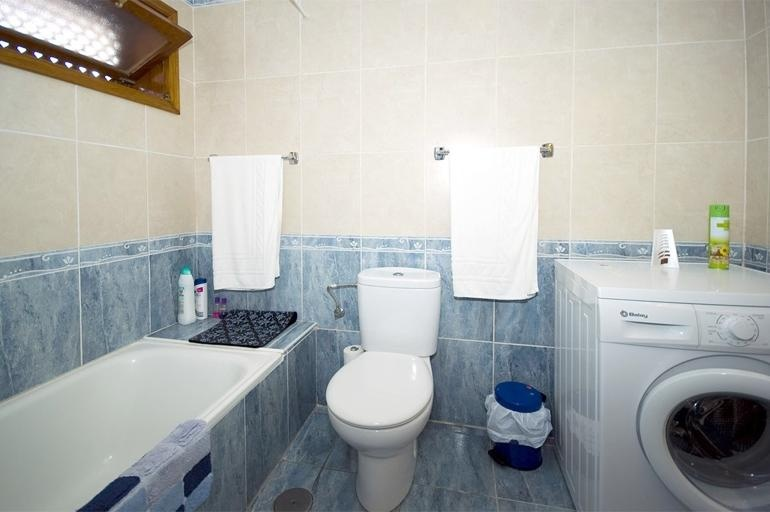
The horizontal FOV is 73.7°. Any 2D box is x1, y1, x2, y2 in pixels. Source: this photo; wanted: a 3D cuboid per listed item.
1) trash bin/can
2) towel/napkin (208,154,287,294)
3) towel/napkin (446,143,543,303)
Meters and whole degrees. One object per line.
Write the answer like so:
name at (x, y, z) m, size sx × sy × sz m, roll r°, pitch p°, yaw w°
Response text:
trash bin/can at (0.788, 0.997, 3.032) m, size 0.386 × 0.416 × 0.347 m, roll -4°, pitch 12°, yaw 9°
towel/napkin at (-0.859, -0.269, 3.287) m, size 0.494 × 0.939 × 0.107 m, roll -2°, pitch -5°, yaw 10°
towel/napkin at (0.631, -0.184, 2.993) m, size 0.494 × 0.879 × 0.111 m, roll -1°, pitch 8°, yaw 14°
